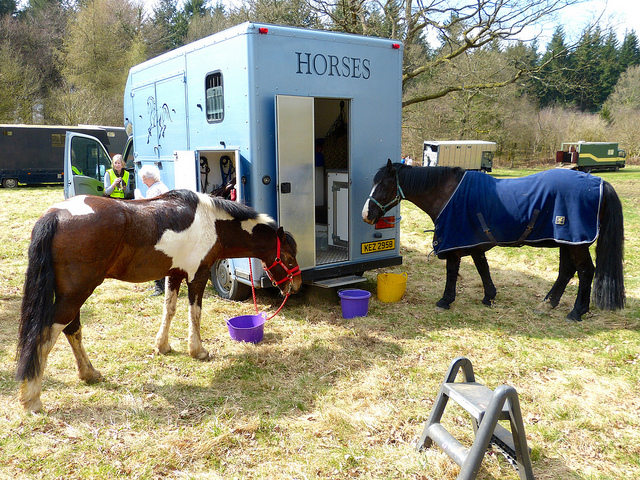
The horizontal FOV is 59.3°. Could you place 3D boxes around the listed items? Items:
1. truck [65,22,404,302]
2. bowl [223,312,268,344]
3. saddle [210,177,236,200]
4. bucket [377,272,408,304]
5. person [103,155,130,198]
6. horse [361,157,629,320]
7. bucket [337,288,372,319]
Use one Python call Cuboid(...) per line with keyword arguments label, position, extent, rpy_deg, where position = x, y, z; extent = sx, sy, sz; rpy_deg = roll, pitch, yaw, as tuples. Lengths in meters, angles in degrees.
Cuboid(label="truck", position=(-1.431, -1.680, 9.983), extent=(3.333, 3.423, 5.971), rpy_deg=(-6, 14, -38))
Cuboid(label="bowl", position=(-0.948, 1.136, 7.294), extent=(0.401, 0.249, 0.335), rpy_deg=(0, 0, -36))
Cuboid(label="saddle", position=(-1.295, -0.719, 7.882), extent=(0.195, 0.237, 0.635), rpy_deg=(-2, 6, -36))
Cuboid(label="bucket", position=(1.124, 0.685, 8.632), extent=(0.412, 0.453, 0.482), rpy_deg=(0, 12, -8))
Cuboid(label="person", position=(-3.718, -1.164, 10.429), extent=(0.393, 0.793, 0.434), rpy_deg=(13, 14, 38))
Cuboid(label="horse", position=(2.532, -0.033, 8.299), extent=(3.522, 2.301, 1.128), rpy_deg=(-1, 13, 16))
Cuboid(label="bucket", position=(0.496, 0.858, 7.992), extent=(0.364, 0.308, 0.384), rpy_deg=(1, 3, 0))
